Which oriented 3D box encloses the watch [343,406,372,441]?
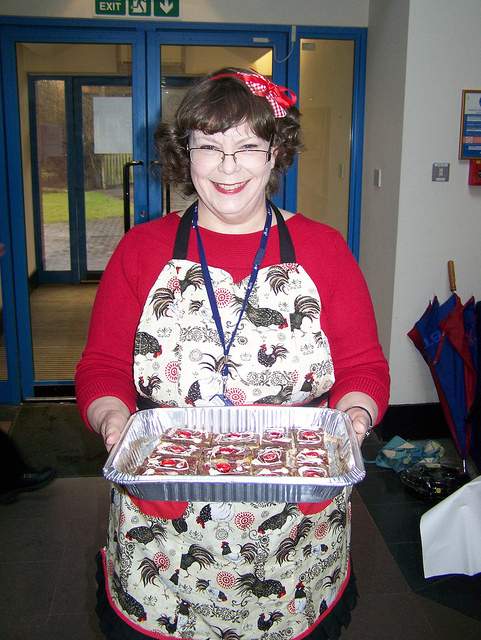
[{"bbox_3d":[0.209,0.184,0.964,0.055,0.059,0.024,7,-5,11],"label":"watch"}]

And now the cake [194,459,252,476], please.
[{"bbox_3d":[-0.025,0.233,0.851,0.086,0.016,0.077,0,12,-1],"label":"cake"}]

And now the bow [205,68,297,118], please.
[{"bbox_3d":[0.021,-0.453,1.060,0.159,0.068,0.112,9,46,-2],"label":"bow"}]

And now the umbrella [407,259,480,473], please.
[{"bbox_3d":[1.092,0.245,2.856,0.322,1.082,0.536,1,12,0],"label":"umbrella"}]
